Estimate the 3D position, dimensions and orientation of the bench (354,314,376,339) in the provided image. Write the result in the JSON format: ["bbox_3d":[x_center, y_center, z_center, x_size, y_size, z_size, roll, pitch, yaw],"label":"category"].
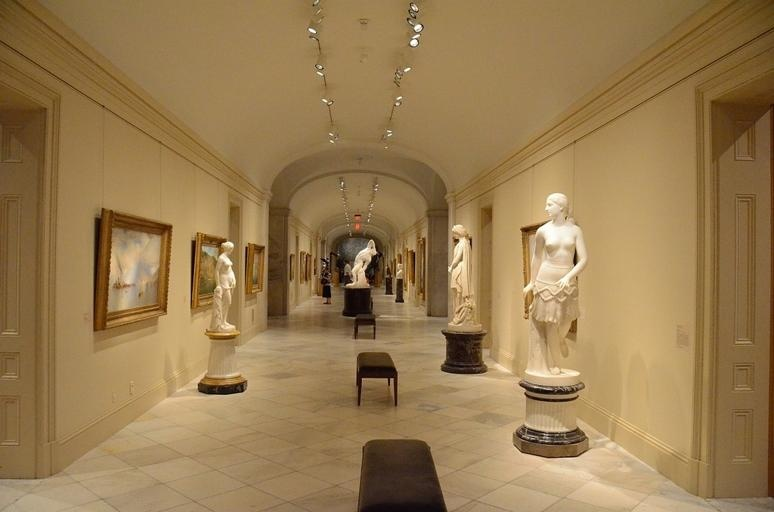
[{"bbox_3d":[-0.734,2.259,16.795,0.706,0.699,0.781,-1,-7,-1],"label":"bench"}]

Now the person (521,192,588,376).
[{"bbox_3d":[2.583,0.661,7.874,0.882,2.327,0.415,1,3,16],"label":"person"}]

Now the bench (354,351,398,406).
[{"bbox_3d":[-0.206,2.525,9.899,0.722,0.687,1.380,1,-5,-2],"label":"bench"}]

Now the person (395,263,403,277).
[{"bbox_3d":[0.787,0.821,33.387,0.512,1.316,0.996,1,-5,4],"label":"person"}]

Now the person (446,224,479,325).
[{"bbox_3d":[1.833,0.436,12.361,0.610,2.382,0.703,0,3,7],"label":"person"}]
